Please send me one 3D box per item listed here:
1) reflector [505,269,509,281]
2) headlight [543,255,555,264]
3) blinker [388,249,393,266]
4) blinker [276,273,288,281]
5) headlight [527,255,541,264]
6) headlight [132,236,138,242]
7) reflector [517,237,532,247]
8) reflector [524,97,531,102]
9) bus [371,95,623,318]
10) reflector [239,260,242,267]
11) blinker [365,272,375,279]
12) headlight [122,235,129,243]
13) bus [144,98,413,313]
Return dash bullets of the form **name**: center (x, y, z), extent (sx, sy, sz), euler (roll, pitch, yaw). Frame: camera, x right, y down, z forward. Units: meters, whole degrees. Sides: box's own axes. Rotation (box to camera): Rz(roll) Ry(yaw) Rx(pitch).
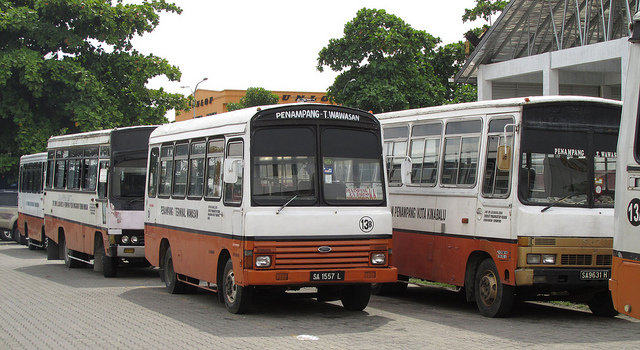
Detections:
- **reflector**: center (4.233, 2.258, 11.073), extent (0.095, 0.234, 0.028), euler (-3, -7, 41)
- **headlight**: center (5.136, 1.895, 10.958), extent (0.216, 0.197, 0.154), euler (1, -5, -2)
- **blinker**: center (1.625, 1.922, 11.408), extent (0.050, 0.362, 0.121), euler (-2, -6, 36)
- **blinker**: center (-0.837, 2.228, 10.712), extent (0.276, 0.161, 0.144), euler (2, -1, -8)
- **headlight**: center (4.762, 1.881, 10.895), extent (0.331, 0.203, 0.174), euler (1, -2, 1)
- **headlight**: center (-6.452, 2.242, 16.988), extent (0.165, 0.151, 0.038), euler (-7, 1, 14)
- **reflector**: center (4.553, 1.495, 10.891), extent (0.340, 0.208, 0.187), euler (1, 0, -1)
- **reflector**: center (4.786, -1.711, 11.275), extent (0.133, 0.110, 0.091), euler (-1, -6, 21)
- **bus**: center (4.361, 0.828, 11.724), extent (2.713, 2.790, 6.113), euler (0, -1, -22)
- **reflector**: center (-1.771, 1.967, 10.862), extent (0.017, 0.157, 0.129), euler (4, -6, -31)
- **blinker**: center (1.119, 2.280, 11.203), extent (0.246, 0.149, 0.129), euler (2, -7, -16)
- **headlight**: center (-6.735, 2.233, 16.873), extent (0.197, 0.179, 0.114), euler (0, -4, -21)
- **bus**: center (-2.363, 0.881, 13.212), extent (8.379, 5.108, 3.136), euler (-4, -7, 43)
